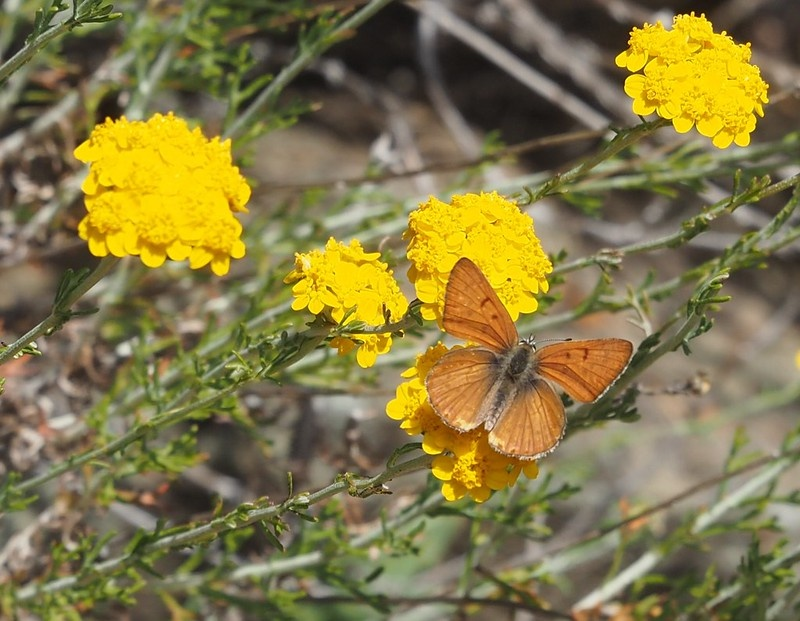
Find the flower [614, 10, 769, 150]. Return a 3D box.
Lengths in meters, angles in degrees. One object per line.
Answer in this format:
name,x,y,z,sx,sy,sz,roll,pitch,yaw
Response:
flower,0.913,-0.715,2.744,0.479,0.382,0.137,15,-16,6

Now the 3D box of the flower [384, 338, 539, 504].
flower,0.156,0.318,2.900,0.627,0.452,0.626,-2,17,1

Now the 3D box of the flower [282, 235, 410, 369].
flower,-0.180,-0.047,2.765,0.366,0.400,0.465,-1,16,-18

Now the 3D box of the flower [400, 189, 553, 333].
flower,0.233,-0.160,2.709,0.437,0.387,0.188,-11,-17,-1
